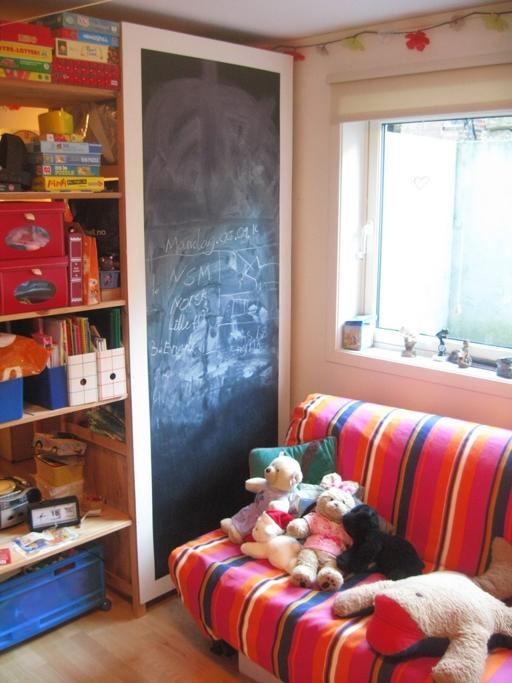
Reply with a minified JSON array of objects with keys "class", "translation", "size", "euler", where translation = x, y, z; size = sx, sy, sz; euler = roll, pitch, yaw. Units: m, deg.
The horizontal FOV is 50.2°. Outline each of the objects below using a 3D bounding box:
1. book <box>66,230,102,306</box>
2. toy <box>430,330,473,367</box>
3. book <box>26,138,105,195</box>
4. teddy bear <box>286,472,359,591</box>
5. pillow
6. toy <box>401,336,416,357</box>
[{"class":"book","translation":[-0.573,-0.236,1.801],"size":[0.076,0.218,0.216],"euler":[-6,17,-20]},{"class":"toy","translation":[0.827,0.025,2.297],"size":[0.112,0.134,0.218],"euler":[-3,10,-27]},{"class":"book","translation":[-0.585,-0.542,1.693],"size":[0.180,0.181,0.113],"euler":[-6,10,-44]},{"class":"teddy bear","translation":[0.212,0.600,1.728],"size":[0.223,0.153,0.408],"euler":[13,20,11]},{"class":"pillow","translation":[0.140,0.440,2.008],"size":[0.223,0.069,0.226],"euler":[-8,13,8]},{"class":"toy","translation":[0.674,0.023,2.410],"size":[0.061,0.088,0.037],"euler":[2,9,5]}]
